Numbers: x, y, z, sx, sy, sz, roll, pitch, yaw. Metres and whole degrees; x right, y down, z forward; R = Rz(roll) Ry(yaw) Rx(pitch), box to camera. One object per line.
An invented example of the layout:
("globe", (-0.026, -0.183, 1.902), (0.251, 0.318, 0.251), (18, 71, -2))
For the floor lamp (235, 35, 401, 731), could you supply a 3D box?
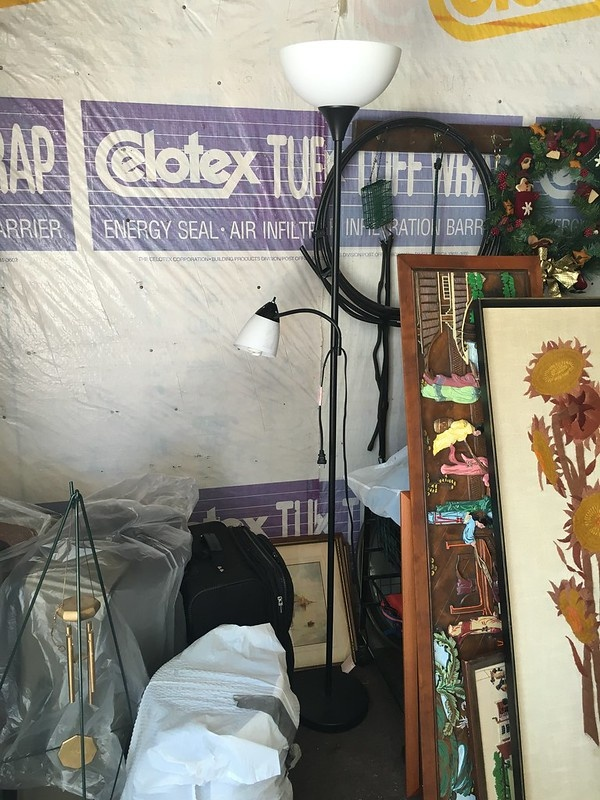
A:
("floor lamp", (0.030, 0.049, 1.911), (0.391, 1.830, 0.492), (-3, 14, -7))
